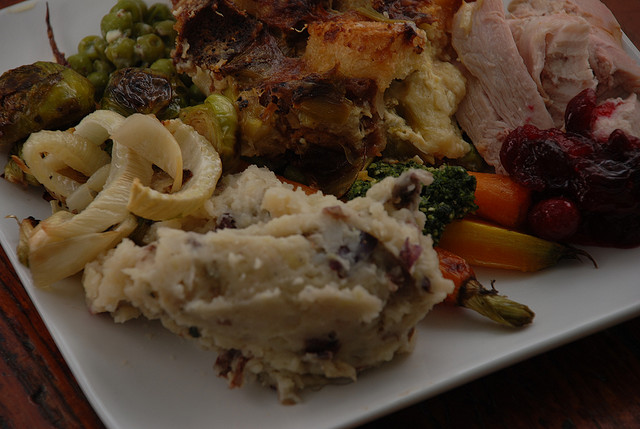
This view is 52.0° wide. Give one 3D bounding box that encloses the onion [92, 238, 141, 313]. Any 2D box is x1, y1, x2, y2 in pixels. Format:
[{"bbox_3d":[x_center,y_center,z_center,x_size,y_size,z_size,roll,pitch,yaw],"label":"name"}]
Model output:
[{"bbox_3d":[-1.070,0.346,3.510,0.097,0.397,0.241,11,16,-38],"label":"onion"}]
